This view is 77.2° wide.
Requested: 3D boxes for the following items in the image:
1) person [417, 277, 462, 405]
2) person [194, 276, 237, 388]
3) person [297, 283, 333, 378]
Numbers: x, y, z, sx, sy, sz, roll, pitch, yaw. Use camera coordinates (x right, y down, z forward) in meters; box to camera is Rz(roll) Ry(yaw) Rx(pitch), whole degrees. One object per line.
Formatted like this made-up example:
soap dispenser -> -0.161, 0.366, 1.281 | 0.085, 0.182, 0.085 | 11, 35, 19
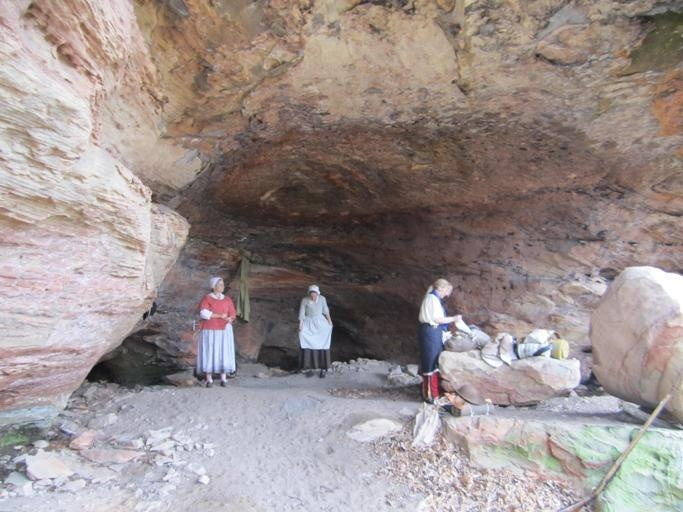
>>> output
person -> 1.049, 0.933, 4.599 | 0.411, 1.226, 0.841 | 2, 17, 12
person -> -1.536, 0.981, 5.196 | 0.462, 1.388, 0.603 | -2, 17, -4
person -> -0.385, 1.236, 6.697 | 0.428, 1.226, 0.430 | 7, 19, 26
